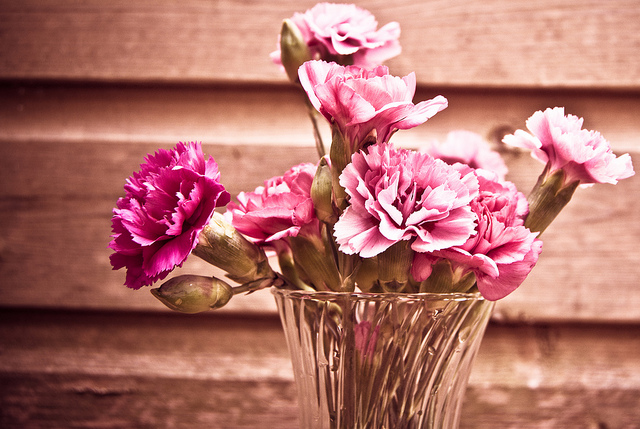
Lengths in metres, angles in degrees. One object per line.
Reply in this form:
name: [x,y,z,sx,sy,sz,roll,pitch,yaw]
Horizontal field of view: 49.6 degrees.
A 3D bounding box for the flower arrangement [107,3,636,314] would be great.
flower arrangement: [0.127,-0.007,1.190,0.702,0.521,0.618,0,7,17]
